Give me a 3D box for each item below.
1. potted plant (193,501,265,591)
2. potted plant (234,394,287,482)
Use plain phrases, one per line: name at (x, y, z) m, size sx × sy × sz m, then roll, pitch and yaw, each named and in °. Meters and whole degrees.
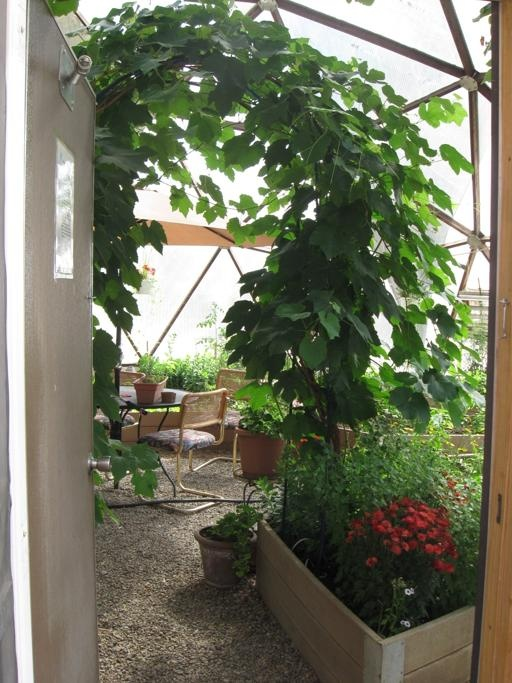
potted plant at (-0.160, 1.136, 2.882) m, size 0.348 × 0.452 × 0.325 m, roll 1°, pitch 1°, yaw -6°
potted plant at (0.049, 0.955, 5.069) m, size 0.433 × 0.665 × 0.428 m, roll 2°, pitch -15°, yaw 15°
